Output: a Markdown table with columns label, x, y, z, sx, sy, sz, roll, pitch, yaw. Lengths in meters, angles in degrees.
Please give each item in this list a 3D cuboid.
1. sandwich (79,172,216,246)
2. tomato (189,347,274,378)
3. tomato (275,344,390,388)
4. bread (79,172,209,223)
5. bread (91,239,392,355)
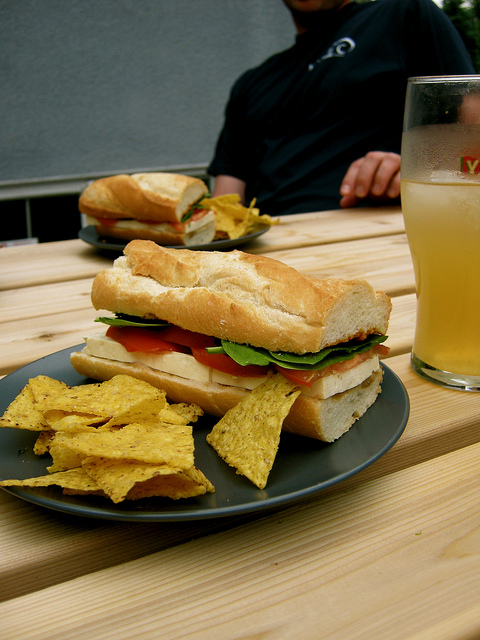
| label | x | y | z | sx | sy | sz | roll | pitch | yaw |
| --- | --- | --- | --- | --- | --- | --- | --- | --- | --- |
| sandwich | -0.350 | -0.431 | 2.310 | 0.422 | 0.204 | 0.404 | 12 | 21 | 28 |
| tomato | -0.014 | 0.060 | 0.997 | 0.078 | 0.019 | 0.059 | 11 | 10 | 18 |
| tomato | 0.134 | 0.048 | 0.983 | 0.170 | 0.037 | 0.120 | -16 | 17 | -29 |
| bread | -0.381 | -0.491 | 2.349 | 0.497 | 0.141 | 0.310 | 6 | 27 | 12 |
| bread | -0.012 | -0.059 | 1.123 | 0.507 | 0.138 | 0.270 | 14 | 22 | 39 |
